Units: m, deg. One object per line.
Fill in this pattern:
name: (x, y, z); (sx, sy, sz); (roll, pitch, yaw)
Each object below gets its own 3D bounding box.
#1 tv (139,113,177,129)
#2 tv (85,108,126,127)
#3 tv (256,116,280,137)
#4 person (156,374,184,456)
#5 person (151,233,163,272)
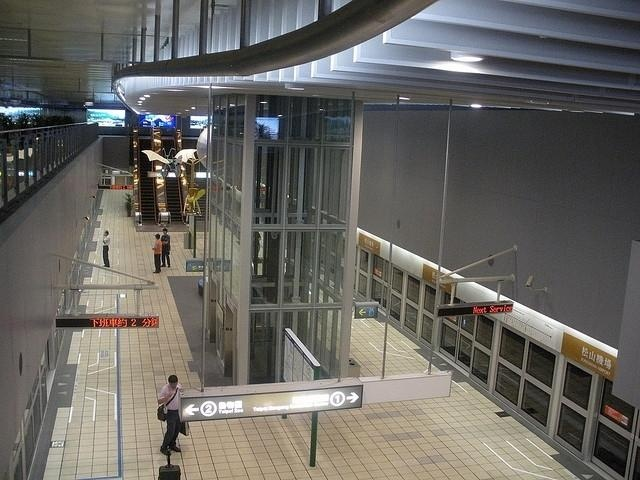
tv: (-15.808, -11.592, 46.371); (3.119, 1.200, 3.677); (-4, 13, -36)
tv: (-21.387, -12.369, 47.531); (3.993, 1.676, 1.143); (7, 11, 14)
tv: (-0.990, -2.196, 9.485); (0.538, 0.570, 0.301); (1, 10, -4)
person: (-2.529, 2.981, 8.009); (0.355, 1.815, 0.844); (0, 10, -17)
person: (-6.275, 0.492, 18.420); (0.290, 1.499, 1.299); (0, 11, -20)
